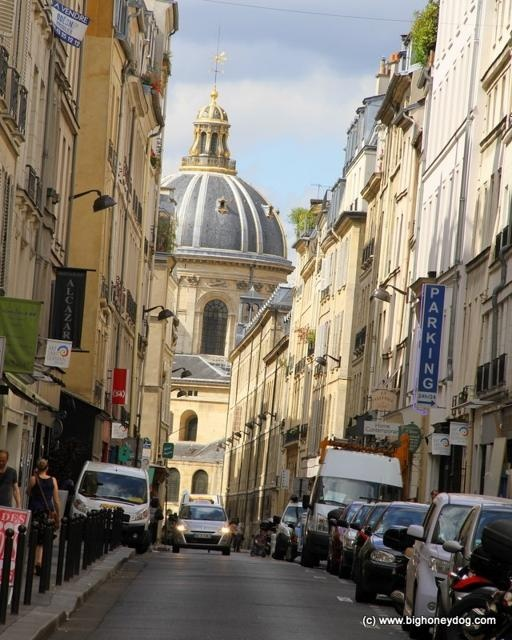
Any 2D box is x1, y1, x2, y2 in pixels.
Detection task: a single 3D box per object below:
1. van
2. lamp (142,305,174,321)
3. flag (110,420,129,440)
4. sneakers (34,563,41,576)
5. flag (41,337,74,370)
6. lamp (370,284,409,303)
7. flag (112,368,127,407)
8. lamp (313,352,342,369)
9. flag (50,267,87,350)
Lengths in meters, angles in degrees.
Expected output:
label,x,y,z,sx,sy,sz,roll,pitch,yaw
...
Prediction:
label,x,y,z,sx,sy,sz,roll,pitch,yaw
van,-4.032,5.238,27.046,2.079,2.220,4.113,3,-12,-3
lamp,-6.972,-0.529,67.000,2.489,1.326,1.016,-8,-9,42
flag,-6.162,4.899,43.071,0.638,0.710,0.559,8,-13,-10
sneakers,-3.102,3.530,13.620,0.070,0.163,0.692,8,-14,-10
flag,-5.371,0.842,25.823,0.957,1.176,0.117,5,-35,-9
lamp,6.120,-1.325,44.374,1.832,0.883,0.799,8,-5,-30
flag,-6.422,3.073,45.233,0.710,1.766,1.021,8,-13,-9
lamp,4.597,2.510,61.768,1.257,0.752,0.745,2,-5,-12
flag,-5.802,-0.451,29.628,1.002,2.366,1.201,9,-13,-13
